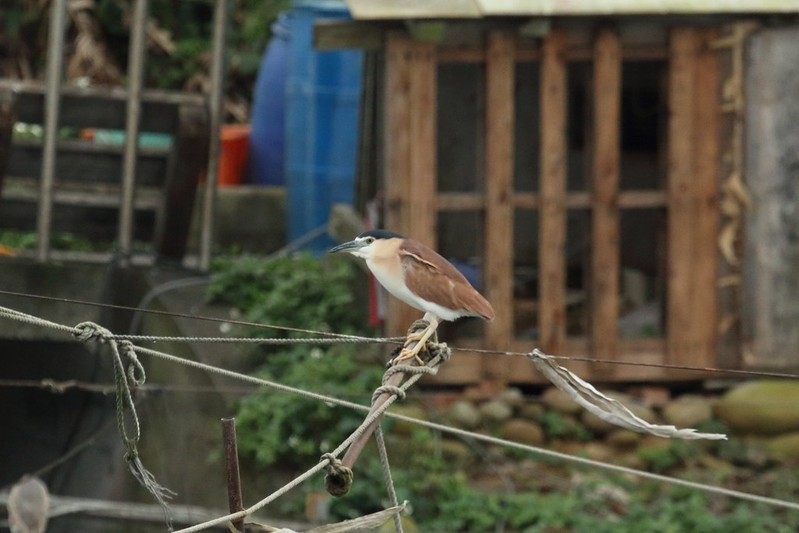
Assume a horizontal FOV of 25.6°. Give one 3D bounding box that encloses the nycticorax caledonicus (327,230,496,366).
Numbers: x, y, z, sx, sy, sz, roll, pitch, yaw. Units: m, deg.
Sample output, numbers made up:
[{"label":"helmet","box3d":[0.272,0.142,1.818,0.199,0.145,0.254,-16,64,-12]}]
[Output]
[{"label":"nycticorax caledonicus","box3d":[0.134,0.358,16.725,1.431,1.368,0.710,-1,-12,-7]}]
